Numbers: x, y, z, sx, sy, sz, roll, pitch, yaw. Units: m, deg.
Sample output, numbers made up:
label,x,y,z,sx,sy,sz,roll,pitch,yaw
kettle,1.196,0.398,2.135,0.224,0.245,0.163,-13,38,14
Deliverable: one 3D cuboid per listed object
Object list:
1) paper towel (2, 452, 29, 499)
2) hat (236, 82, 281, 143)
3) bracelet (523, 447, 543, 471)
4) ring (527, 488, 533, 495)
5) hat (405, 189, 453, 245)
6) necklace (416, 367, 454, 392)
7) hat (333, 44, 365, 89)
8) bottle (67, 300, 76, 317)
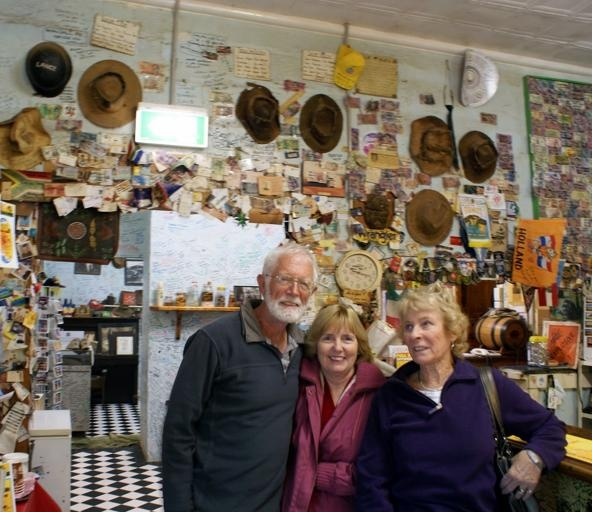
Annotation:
label,x,y,z,sx,sy,sz,roll,pitch,yaw
paper towel,-1.387,1.071,2.522,0.118,0.199,0.219,1,-5,-26
hat,-0.356,-1.377,4.904,0.453,0.579,0.188,0,-6,-9
bracelet,0.927,0.786,1.983,0.061,0.062,0.030,-3,-6,20
ring,0.895,0.900,1.958,0.022,0.022,0.006,-41,-5,1
hat,1.339,-0.396,5.382,0.741,0.503,0.183,-1,2,-17
necklace,0.606,0.539,2.221,0.114,0.097,0.151,-6,-23,14
hat,0.537,-1.910,5.180,0.315,0.464,0.111,0,-6,-16
bottle,-3.668,0.855,8.296,0.110,0.222,0.107,-7,-35,-5
